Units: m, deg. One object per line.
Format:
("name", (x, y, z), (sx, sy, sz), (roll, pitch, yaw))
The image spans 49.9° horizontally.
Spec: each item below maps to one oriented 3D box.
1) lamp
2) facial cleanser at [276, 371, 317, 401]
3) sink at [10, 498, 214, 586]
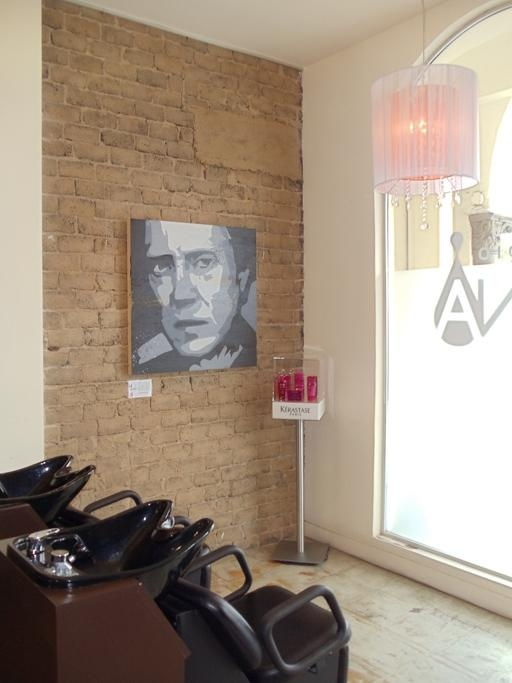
("lamp", (0.638, -0.711, 2.090), (0.331, 0.585, 0.390), (-3, 3, -22))
("facial cleanser", (0.251, 0.281, 3.488), (0.273, 0.176, 0.283), (-2, 3, 8))
("sink", (-0.399, 0.519, 1.406), (0.290, 0.110, 0.238), (-4, 6, -36))
